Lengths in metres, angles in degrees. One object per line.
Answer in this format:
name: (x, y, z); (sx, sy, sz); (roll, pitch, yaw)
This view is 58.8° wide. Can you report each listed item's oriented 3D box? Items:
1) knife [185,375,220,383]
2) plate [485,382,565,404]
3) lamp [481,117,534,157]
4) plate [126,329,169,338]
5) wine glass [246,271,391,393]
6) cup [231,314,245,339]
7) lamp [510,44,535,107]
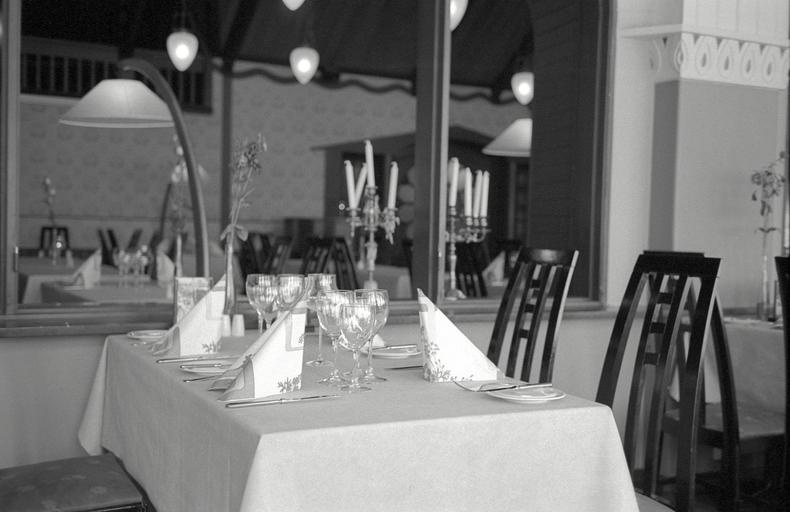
knife: (-0.694, 0.449, 2.535); (0.091, 0.012, 0.017); (-1, 6, -19)
plate: (0.461, 0.480, 2.424); (0.274, 0.044, 0.158); (0, -1, -12)
lamp: (0.818, -0.799, 4.791); (0.338, 0.279, 0.083); (-12, 15, -18)
plate: (-1.120, 0.359, 3.143); (0.236, 0.038, 0.086); (-1, -1, 36)
wine glass: (-0.279, 0.291, 2.456); (0.451, 0.333, 0.304); (2, -2, -25)
cup: (-0.738, 0.341, 3.342); (0.085, 0.105, 0.066); (-3, 3, -31)
lamp: (0.890, -1.233, 4.797); (0.190, 0.362, 0.080); (2, 3, -4)
